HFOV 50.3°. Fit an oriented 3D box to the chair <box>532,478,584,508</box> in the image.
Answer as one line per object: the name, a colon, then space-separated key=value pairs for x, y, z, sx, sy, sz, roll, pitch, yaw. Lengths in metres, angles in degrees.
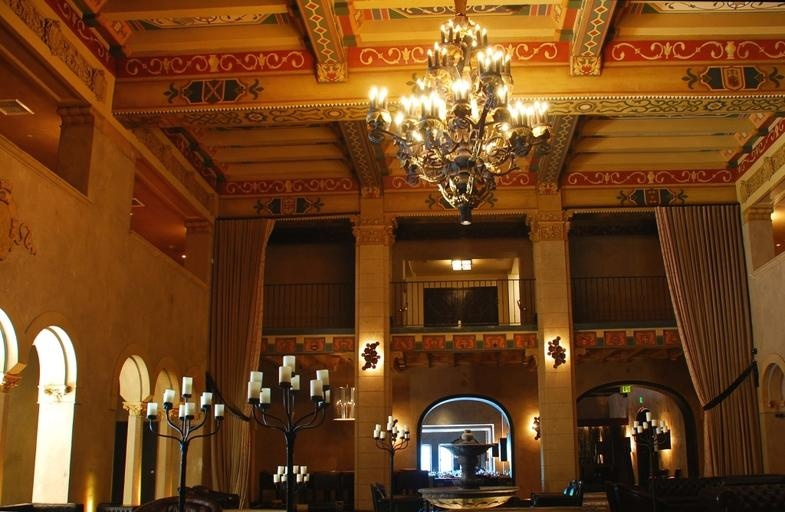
chair: x=3.373 y=4.917 z=16.887 sx=0.743 sy=0.603 sz=0.751 roll=-1 pitch=-22 yaw=5

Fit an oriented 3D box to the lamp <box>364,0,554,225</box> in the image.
lamp: x=0.979 y=-2.266 z=12.215 sx=2.039 sy=3.316 sz=1.878 roll=18 pitch=-27 yaw=-35

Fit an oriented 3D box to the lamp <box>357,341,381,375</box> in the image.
lamp: x=-0.537 y=2.343 z=18.908 sx=0.615 sy=0.678 sz=0.207 roll=4 pitch=-4 yaw=2
